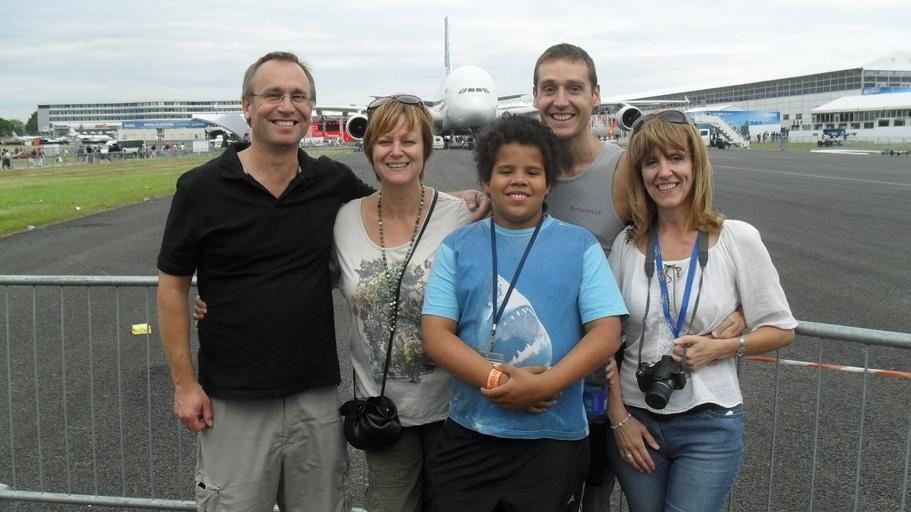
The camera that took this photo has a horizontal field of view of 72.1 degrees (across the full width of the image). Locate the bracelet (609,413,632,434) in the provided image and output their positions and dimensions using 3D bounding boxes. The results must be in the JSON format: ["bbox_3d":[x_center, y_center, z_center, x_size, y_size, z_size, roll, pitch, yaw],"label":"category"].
[{"bbox_3d":[1.391,1.411,5.303,0.149,0.049,0.153,7,-36,-47],"label":"bracelet"}]

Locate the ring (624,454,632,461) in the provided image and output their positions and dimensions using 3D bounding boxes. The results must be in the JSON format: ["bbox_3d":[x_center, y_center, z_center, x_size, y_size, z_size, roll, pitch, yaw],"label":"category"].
[{"bbox_3d":[1.454,1.687,5.244,0.047,0.044,0.013,10,30,41],"label":"ring"}]

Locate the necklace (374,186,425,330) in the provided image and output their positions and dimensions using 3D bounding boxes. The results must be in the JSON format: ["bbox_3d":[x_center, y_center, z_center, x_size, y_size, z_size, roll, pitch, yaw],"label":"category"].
[{"bbox_3d":[-0.459,0.018,5.265,0.397,1.236,0.055,5,-11,2],"label":"necklace"}]

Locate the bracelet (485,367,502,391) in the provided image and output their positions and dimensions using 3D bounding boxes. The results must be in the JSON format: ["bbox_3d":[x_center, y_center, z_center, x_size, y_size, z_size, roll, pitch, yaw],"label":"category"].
[{"bbox_3d":[0.282,0.971,4.913,0.148,0.140,0.123,20,-36,-1],"label":"bracelet"}]
